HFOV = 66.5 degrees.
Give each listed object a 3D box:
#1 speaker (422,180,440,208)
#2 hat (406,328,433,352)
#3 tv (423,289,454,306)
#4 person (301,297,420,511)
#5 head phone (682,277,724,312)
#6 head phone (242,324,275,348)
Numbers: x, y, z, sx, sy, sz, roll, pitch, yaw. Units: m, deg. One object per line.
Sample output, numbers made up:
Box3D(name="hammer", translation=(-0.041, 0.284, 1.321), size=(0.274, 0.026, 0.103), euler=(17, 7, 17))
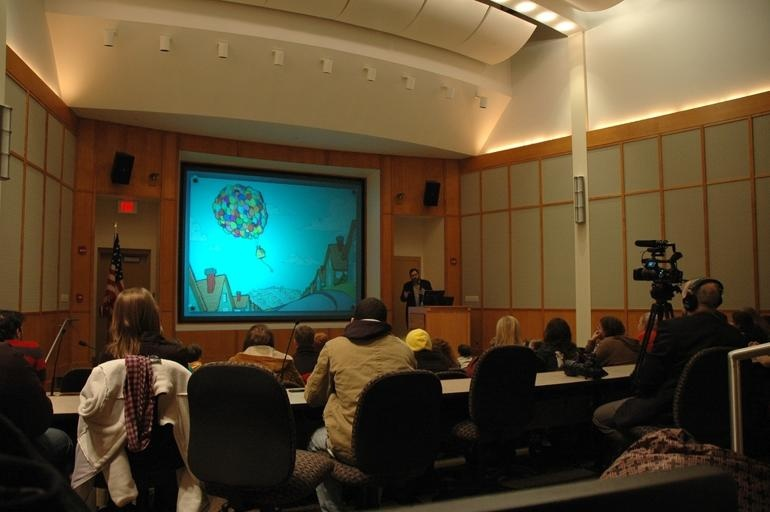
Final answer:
Box3D(name="speaker", translation=(0.988, -1.272, 12.045), size=(0.408, 0.535, 0.301), euler=(1, -2, -11))
Box3D(name="hat", translation=(0.303, 0.746, 5.212), size=(0.154, 0.100, 0.224), euler=(-4, 10, 0))
Box3D(name="tv", translation=(0.898, 0.715, 9.967), size=(0.504, 0.242, 0.215), euler=(0, -2, -1))
Box3D(name="person", translation=(-0.172, 1.024, 3.954), size=(0.718, 1.475, 0.538), euler=(0, -2, -8))
Box3D(name="head phone", translation=(2.397, 0.281, 4.400), size=(0.275, 0.253, 0.108), euler=(-2, 28, 1))
Box3D(name="head phone", translation=(-1.097, 0.711, 5.167), size=(0.214, 0.309, 0.299), euler=(3, -10, -9))
